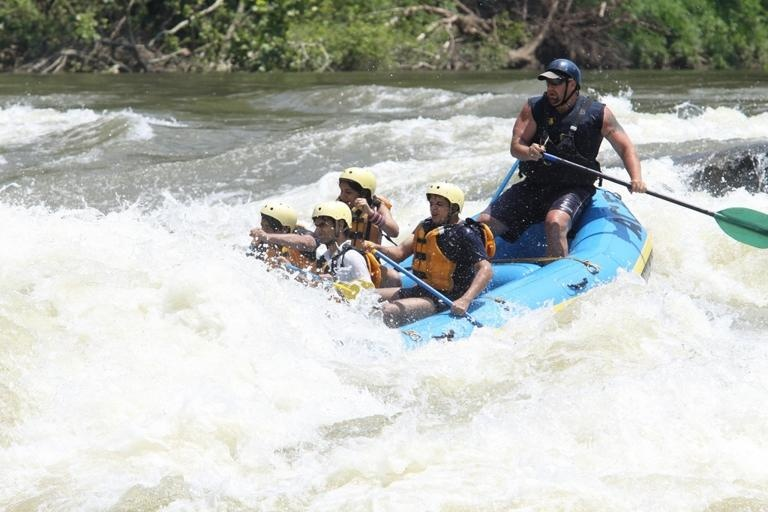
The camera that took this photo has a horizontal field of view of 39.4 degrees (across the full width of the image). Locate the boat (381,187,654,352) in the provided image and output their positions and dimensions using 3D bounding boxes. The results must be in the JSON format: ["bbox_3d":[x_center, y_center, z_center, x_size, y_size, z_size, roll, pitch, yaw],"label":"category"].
[{"bbox_3d":[1.861,0.232,12.575,2.937,0.600,1.583,-23,21,-31],"label":"boat"}]

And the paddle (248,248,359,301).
[{"bbox_3d":[-0.815,0.093,12.245,1.573,0.482,0.208,21,60,8],"label":"paddle"}]

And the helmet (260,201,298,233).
[{"bbox_3d":[-1.188,-0.479,12.387,0.427,0.288,0.303,18,6,-18],"label":"helmet"}]

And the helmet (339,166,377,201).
[{"bbox_3d":[-0.291,-0.903,13.095,0.447,0.286,0.322,-3,17,-23],"label":"helmet"}]

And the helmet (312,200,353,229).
[{"bbox_3d":[-0.585,-0.474,12.237,0.371,0.249,0.312,1,0,-27],"label":"helmet"}]

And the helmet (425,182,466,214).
[{"bbox_3d":[0.685,-0.692,12.344,0.408,0.313,0.341,6,18,-25],"label":"helmet"}]

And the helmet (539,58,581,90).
[{"bbox_3d":[2.162,-2.237,13.021,0.579,0.248,0.384,5,-3,-16],"label":"helmet"}]

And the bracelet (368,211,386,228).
[{"bbox_3d":[-0.084,-0.451,12.892,0.190,0.185,0.153,-24,30,44],"label":"bracelet"}]
